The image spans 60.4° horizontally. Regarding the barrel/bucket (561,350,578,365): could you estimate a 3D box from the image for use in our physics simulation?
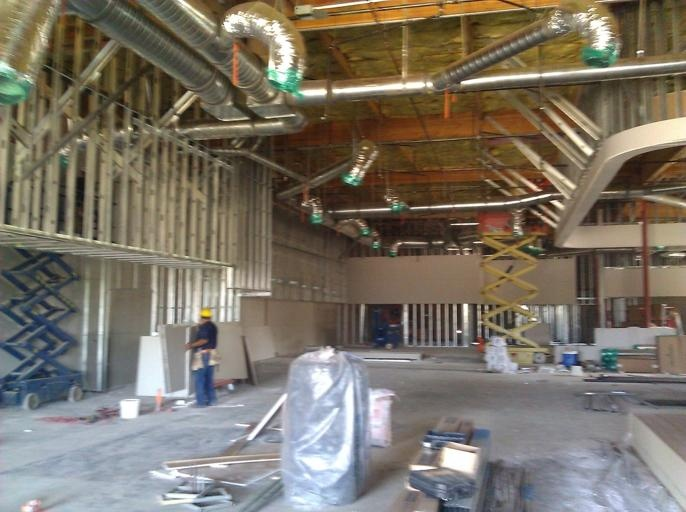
[{"bbox_3d":[7.469,3.350,19.534,0.621,0.375,0.497,0,1,-1],"label":"barrel/bucket"}]

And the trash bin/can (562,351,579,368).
[{"bbox_3d":[7.496,3.391,19.610,0.689,0.463,0.684,0,1,41],"label":"trash bin/can"}]

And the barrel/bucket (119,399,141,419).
[{"bbox_3d":[-4.208,2.968,11.558,0.493,0.322,0.498,-2,-5,0],"label":"barrel/bucket"}]

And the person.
[{"bbox_3d":[-3.007,2.165,12.645,0.584,2.109,0.449,2,0,-16],"label":"person"}]

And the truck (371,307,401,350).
[{"bbox_3d":[2.323,3.742,31.910,1.603,2.096,0.805,1,0,6],"label":"truck"}]
